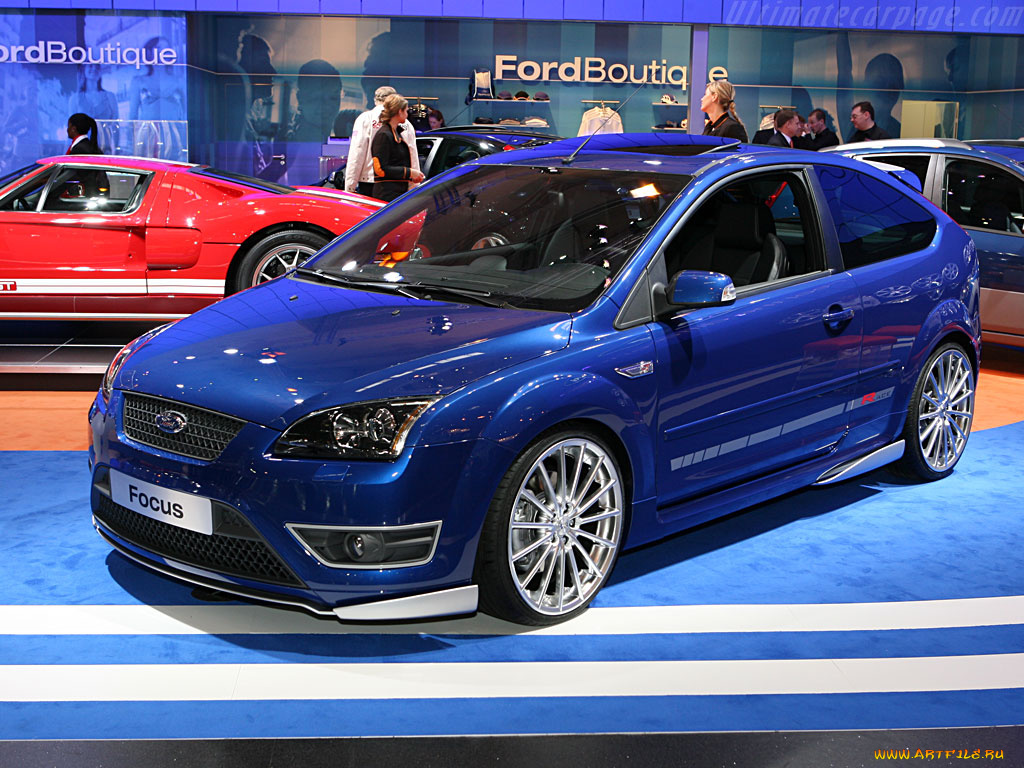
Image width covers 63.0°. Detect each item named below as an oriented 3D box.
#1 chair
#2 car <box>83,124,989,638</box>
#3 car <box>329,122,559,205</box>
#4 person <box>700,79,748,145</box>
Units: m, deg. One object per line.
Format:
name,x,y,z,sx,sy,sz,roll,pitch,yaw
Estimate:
chair,1.112,-0.672,4.231,0.528,0.468,0.538,9,14,32
car,0.561,-0.261,4.230,4.450,1.175,2.402,-4,8,-37
car,-1.129,-2.868,10.817,3.624,0.785,1.314,2,11,10
person,2.269,-2.932,9.014,0.641,0.563,0.718,-4,30,-7
